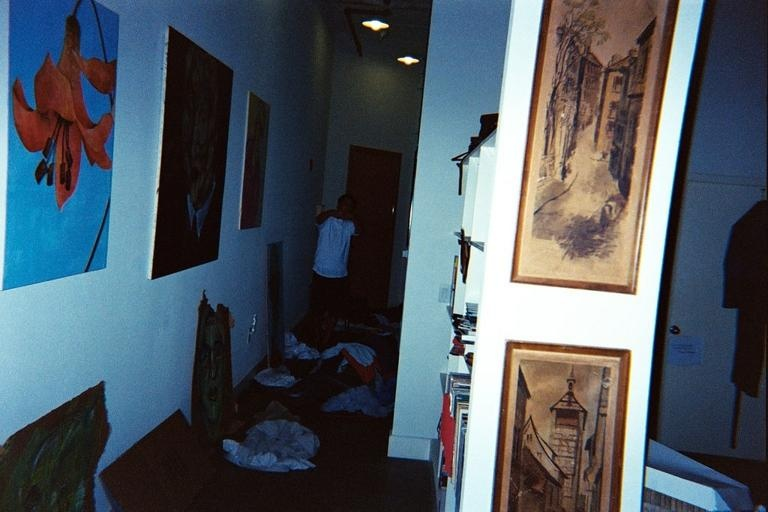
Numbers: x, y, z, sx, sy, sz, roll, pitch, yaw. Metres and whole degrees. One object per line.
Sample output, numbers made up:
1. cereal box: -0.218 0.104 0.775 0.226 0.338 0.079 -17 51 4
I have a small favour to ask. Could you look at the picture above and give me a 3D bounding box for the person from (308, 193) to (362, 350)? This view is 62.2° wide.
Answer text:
1. person: -0.581 0.105 7.217 0.458 1.283 0.881 6 3 -2
